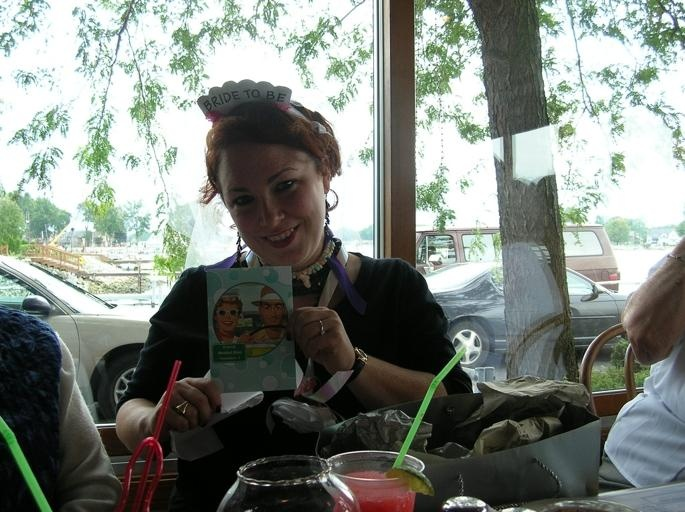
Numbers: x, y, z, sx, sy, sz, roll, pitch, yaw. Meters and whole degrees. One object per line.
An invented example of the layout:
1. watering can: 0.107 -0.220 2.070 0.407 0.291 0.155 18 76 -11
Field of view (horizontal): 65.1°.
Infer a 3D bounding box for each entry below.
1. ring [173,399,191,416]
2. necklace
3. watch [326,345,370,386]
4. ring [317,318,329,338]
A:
1. ring: -0.381 0.363 1.283 0.034 0.034 0.009 -46 -17 -15
2. necklace: -0.079 0.059 1.570 0.165 0.210 0.092 4 -7 8
3. watch: 0.009 0.286 1.461 0.110 0.108 0.070 -24 41 -37
4. ring: -0.051 0.180 1.343 0.025 0.032 0.014 -4 6 14
